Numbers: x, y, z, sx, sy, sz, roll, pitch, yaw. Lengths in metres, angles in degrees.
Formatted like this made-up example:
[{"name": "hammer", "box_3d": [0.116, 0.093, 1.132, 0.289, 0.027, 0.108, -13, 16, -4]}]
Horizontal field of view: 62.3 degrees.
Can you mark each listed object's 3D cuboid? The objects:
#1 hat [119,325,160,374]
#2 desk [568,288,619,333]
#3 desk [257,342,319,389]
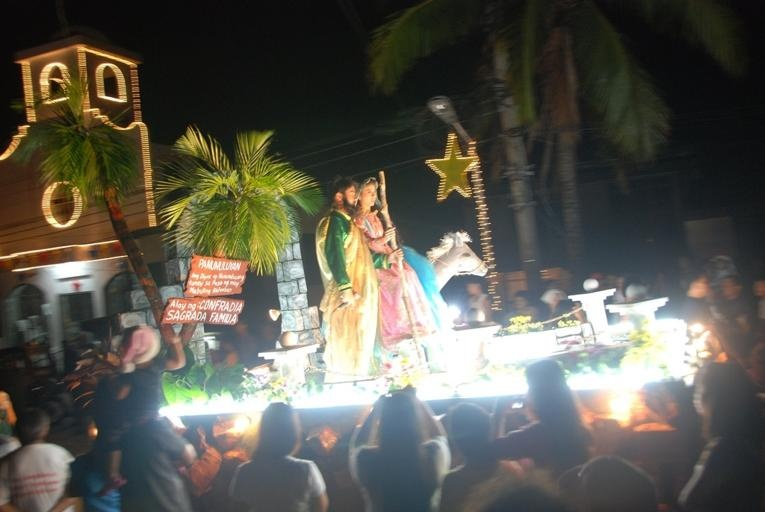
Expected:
[{"name": "hat", "box_3d": [-3.715, 1.389, 9.654, 0.507, 0.649, 0.583, 18, -7, -11]}, {"name": "desk", "box_3d": [3.614, 0.843, 11.028, 0.777, 0.702, 0.755, -19, 4, 7]}, {"name": "desk", "box_3d": [-1.649, 1.917, 11.237, 0.769, 0.697, 0.764, -10, -6, 33]}]
